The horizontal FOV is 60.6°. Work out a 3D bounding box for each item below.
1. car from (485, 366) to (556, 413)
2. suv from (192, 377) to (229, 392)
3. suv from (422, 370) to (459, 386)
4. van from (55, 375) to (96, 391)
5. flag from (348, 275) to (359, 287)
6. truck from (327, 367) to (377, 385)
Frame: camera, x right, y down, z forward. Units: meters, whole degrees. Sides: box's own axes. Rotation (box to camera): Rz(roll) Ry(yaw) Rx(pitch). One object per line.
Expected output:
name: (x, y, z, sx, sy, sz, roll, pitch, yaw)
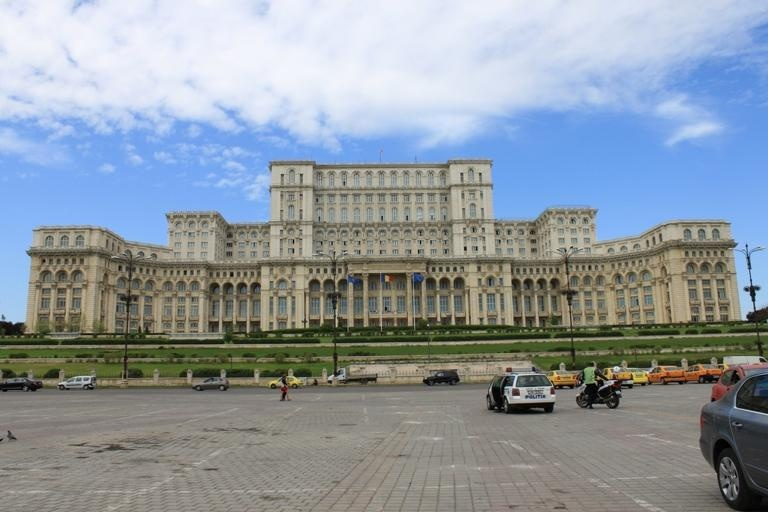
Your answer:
car: (6.159, 6.111, 29.885, 2.645, 1.813, 3.316, -1, -8, 1)
suv: (-14.407, 10.602, 54.701, 2.592, 0.755, 1.134, 4, -12, -1)
suv: (5.116, 10.822, 58.865, 2.545, 1.056, 1.456, 3, -13, 4)
van: (-27.602, 11.364, 59.249, 2.818, 0.946, 1.488, 3, -11, 2)
flag: (-5.716, 4.336, 119.785, 2.556, 2.235, 0.394, -2, 14, -25)
truck: (-3.060, 11.289, 62.309, 4.812, 1.457, 1.706, 1, -11, -1)
